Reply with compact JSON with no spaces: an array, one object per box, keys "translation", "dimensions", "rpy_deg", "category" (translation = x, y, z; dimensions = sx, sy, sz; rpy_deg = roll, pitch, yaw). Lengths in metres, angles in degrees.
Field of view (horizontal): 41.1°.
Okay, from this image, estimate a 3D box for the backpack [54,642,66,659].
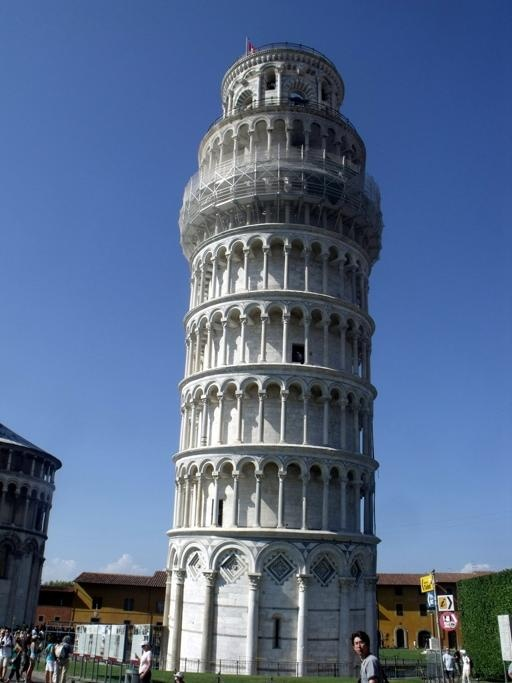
[{"translation":[-6.214,9.860,21.724],"dimensions":[0.324,0.450,0.500],"rpy_deg":[9,-26,-16],"category":"backpack"}]
